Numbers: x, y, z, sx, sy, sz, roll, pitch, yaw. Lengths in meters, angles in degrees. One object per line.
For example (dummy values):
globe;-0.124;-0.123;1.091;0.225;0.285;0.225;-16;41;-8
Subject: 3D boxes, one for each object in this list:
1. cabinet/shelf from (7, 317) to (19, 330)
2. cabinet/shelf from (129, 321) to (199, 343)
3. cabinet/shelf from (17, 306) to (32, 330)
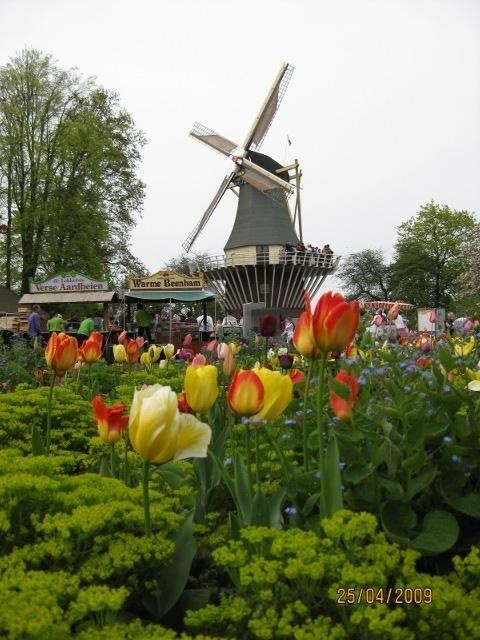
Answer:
cabinet/shelf;-10.810;0.152;24.829;0.435;0.614;1.955;6;-1;-25
cabinet/shelf;-3.071;0.544;23.659;1.920;0.701;1.792;-2;-4;37
cabinet/shelf;-8.670;-0.062;21.034;0.343;0.836;0.916;4;8;7
